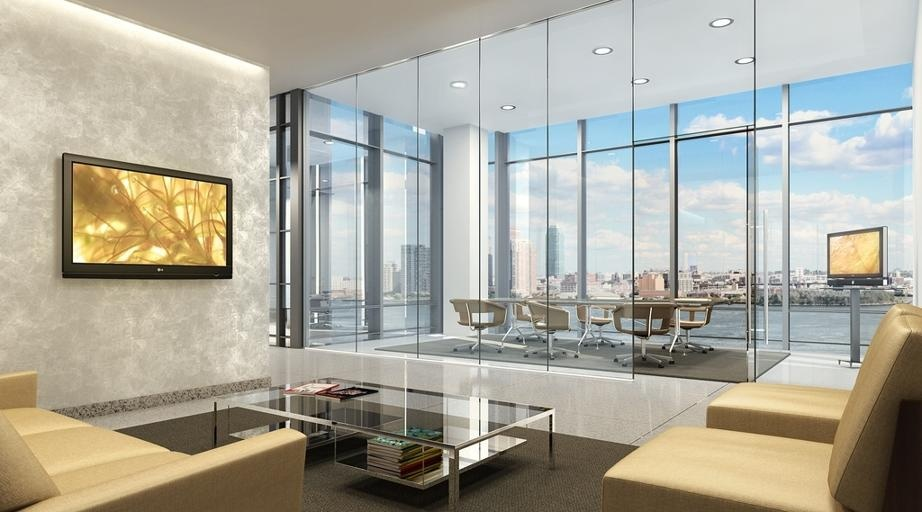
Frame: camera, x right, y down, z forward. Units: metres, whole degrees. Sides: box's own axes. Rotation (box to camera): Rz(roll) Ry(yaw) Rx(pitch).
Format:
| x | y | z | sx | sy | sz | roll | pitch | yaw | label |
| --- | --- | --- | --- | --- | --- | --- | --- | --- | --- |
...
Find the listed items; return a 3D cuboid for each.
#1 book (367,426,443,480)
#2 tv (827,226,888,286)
| x | y | z | sx | sy | sz | roll | pitch | yaw | label |
| --- | --- | --- | --- | --- | --- | --- | --- | --- | --- |
| -0.580 | 1.927 | 5.622 | 0.533 | 0.188 | 0.680 | -1 | -3 | 31 | book |
| 7.204 | 0.004 | 10.350 | 0.230 | 1.132 | 1.234 | 6 | -9 | -41 | tv |
